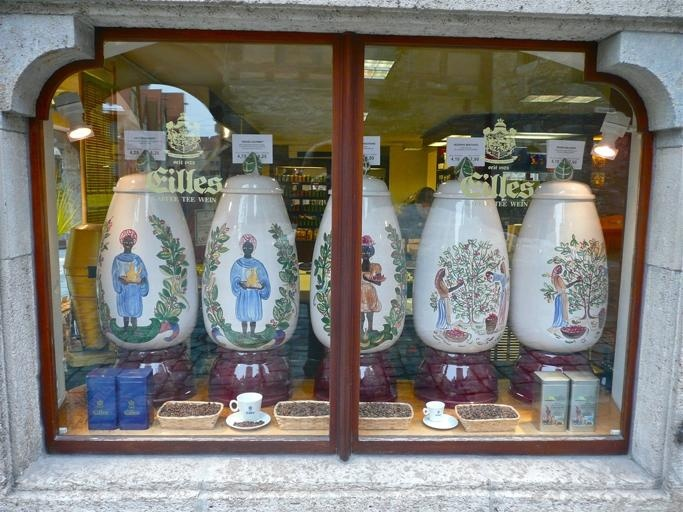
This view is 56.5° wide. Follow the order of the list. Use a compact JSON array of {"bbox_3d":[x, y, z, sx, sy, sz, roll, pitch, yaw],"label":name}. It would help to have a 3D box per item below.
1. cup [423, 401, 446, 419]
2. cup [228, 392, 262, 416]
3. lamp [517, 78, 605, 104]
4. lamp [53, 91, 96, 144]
[{"bbox_3d":[0.461,0.769,3.164,0.101,0.055,0.079,-3,3,8],"label":"cup"},{"bbox_3d":[-0.472,0.741,3.153,0.149,0.073,0.099,-1,4,4],"label":"cup"},{"bbox_3d":[1.091,-0.813,3.158,0.378,0.119,0.115,2,11,16],"label":"lamp"},{"bbox_3d":[-1.290,-0.675,3.077,0.091,0.231,0.165,-1,10,8],"label":"lamp"}]
